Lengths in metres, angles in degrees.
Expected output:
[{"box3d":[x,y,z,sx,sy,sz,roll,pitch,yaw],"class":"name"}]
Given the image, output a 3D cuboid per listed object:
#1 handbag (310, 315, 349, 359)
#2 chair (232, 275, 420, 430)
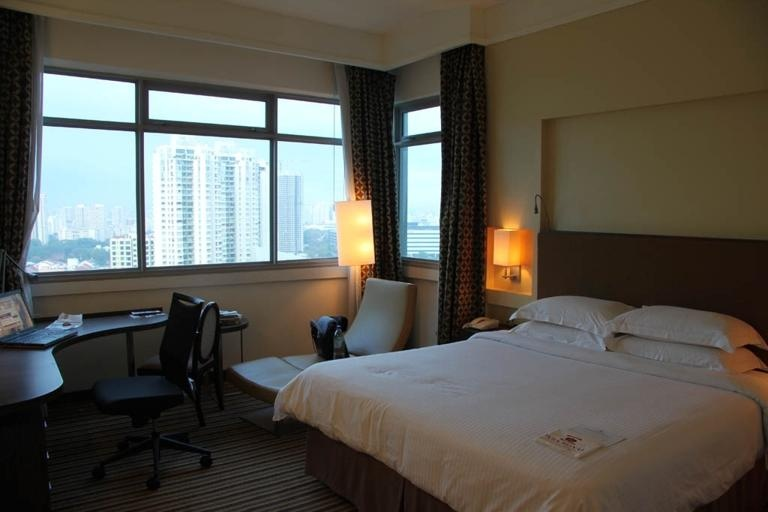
[{"box3d":[-0.602,0.868,5.932,0.350,0.452,0.474,0,-1,-18],"class":"handbag"},{"box3d":[-0.619,0.994,5.797,1.897,1.373,1.074,-3,2,-43],"class":"chair"}]
